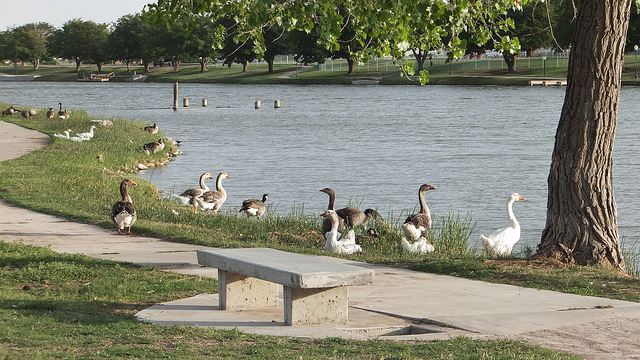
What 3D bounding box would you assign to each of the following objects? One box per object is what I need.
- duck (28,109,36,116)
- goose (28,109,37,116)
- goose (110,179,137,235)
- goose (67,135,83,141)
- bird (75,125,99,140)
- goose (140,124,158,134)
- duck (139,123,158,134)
[{"bbox_3d":[-24.949,-5.724,118.875,0.665,0.340,0.725,2,5,-13],"label":"duck"},{"bbox_3d":[-24.956,-5.673,119.126,0.617,0.349,1.292,-7,11,-13],"label":"goose"},{"bbox_3d":[-11.528,1.669,83.857,1.672,3.243,2.207,1,0,-21],"label":"goose"},{"bbox_3d":[-18.387,-2.997,103.348,0.907,0.486,0.418,10,16,-9],"label":"goose"},{"bbox_3d":[-17.678,-3.436,104.833,2.033,1.111,0.741,5,9,-18],"label":"bird"},{"bbox_3d":[-13.688,-4.012,111.179,1.002,0.768,1.994,-3,5,-28],"label":"goose"},{"bbox_3d":[-13.801,-4.115,111.066,1.461,0.824,0.736,11,18,15],"label":"duck"}]
